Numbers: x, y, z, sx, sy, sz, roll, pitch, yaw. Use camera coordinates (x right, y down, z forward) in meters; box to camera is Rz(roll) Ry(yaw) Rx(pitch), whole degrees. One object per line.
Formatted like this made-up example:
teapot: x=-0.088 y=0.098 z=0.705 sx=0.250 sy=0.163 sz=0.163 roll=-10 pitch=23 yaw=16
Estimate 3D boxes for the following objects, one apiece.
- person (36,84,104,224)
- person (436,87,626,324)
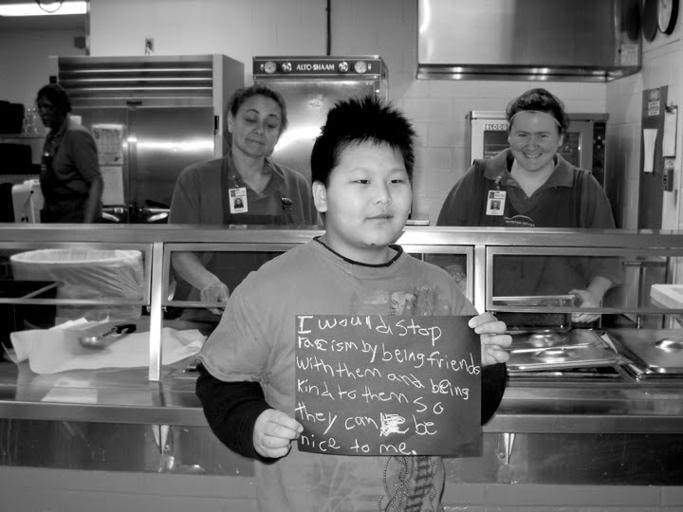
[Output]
person: x=-1.847 y=-0.681 z=4.325 sx=0.466 sy=0.899 sz=0.184 roll=0 pitch=3 yaw=15
person: x=0.846 y=-0.094 z=3.039 sx=0.867 sy=1.317 sz=0.718 roll=2 pitch=-5 yaw=17
